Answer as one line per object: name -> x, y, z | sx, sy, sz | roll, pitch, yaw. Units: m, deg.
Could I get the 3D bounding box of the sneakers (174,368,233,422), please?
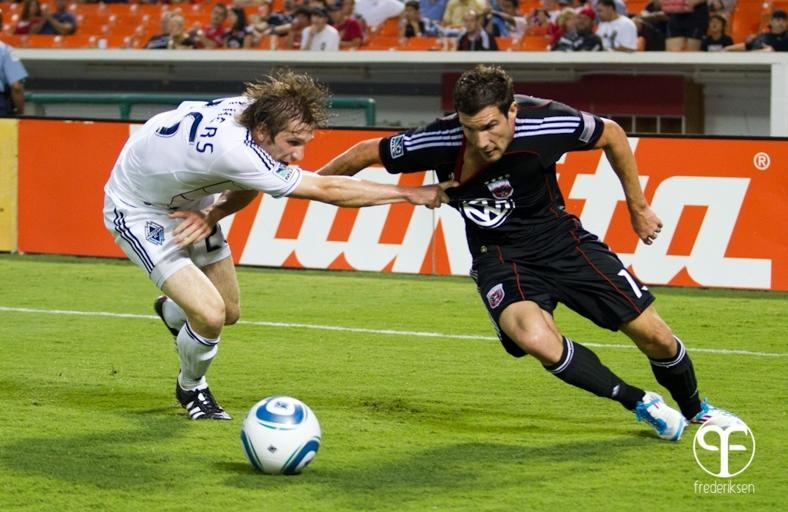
sneakers -> -1.718, 1.295, 9.438 | 0.673, 0.260, 0.245 | 32, 42, 17

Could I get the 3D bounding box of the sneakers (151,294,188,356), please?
sneakers -> -1.963, 0.605, 9.709 | 0.564, 0.188, 0.264 | 49, 35, 20

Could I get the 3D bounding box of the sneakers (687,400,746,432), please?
sneakers -> 2.731, 1.388, 9.154 | 0.508, 0.212, 0.190 | 3, 17, 29

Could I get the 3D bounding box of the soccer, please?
soccer -> -0.888, 1.461, 8.639 | 0.615, 0.578, 0.609 | -7, -14, 41
